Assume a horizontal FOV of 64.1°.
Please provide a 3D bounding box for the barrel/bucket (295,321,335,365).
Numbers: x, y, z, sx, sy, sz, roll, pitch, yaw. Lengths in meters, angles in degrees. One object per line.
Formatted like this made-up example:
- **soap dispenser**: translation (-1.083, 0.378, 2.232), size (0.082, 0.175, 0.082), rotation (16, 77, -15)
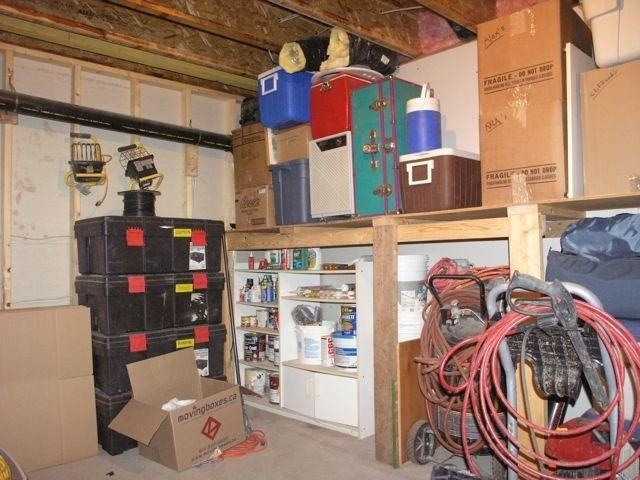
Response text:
- **barrel/bucket**: translation (-0.046, 0.833, 4.107), size (0.335, 0.265, 0.332), rotation (-1, 0, 0)

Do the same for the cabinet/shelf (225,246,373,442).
- **cabinet/shelf**: translation (-0.143, 0.876, 4.166), size (1.480, 1.324, 0.434), rotation (3, 2, 40)

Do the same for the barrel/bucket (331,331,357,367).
- **barrel/bucket**: translation (0.193, 0.857, 4.023), size (0.248, 0.234, 0.240), rotation (-1, -1, 0)

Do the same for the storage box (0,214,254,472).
- **storage box**: translation (-1.273, 0.638, 4.066), size (1.084, 1.668, 0.700), rotation (-4, 5, -32)
